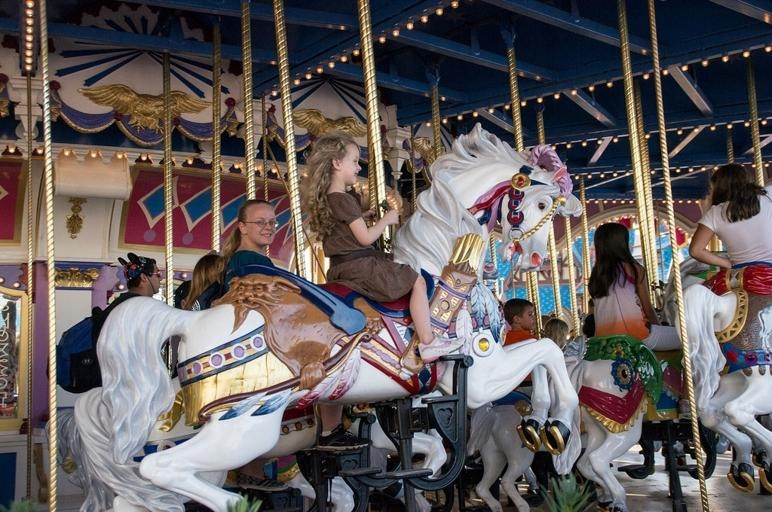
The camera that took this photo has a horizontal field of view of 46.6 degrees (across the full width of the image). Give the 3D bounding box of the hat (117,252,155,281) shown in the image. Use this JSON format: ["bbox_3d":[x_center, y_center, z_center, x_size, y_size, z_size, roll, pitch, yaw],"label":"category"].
[{"bbox_3d":[-2.304,0.085,8.495,0.261,0.228,0.320,12,-3,33],"label":"hat"}]

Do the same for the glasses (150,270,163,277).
[{"bbox_3d":[-2.315,0.167,9.041,0.145,0.074,0.192,0,1,-1],"label":"glasses"}]

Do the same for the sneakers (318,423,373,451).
[{"bbox_3d":[-0.340,1.517,7.509,0.436,0.192,0.169,0,-6,7],"label":"sneakers"}]

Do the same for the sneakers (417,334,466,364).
[{"bbox_3d":[0.421,0.698,7.134,0.417,0.172,0.147,-20,5,-21],"label":"sneakers"}]
